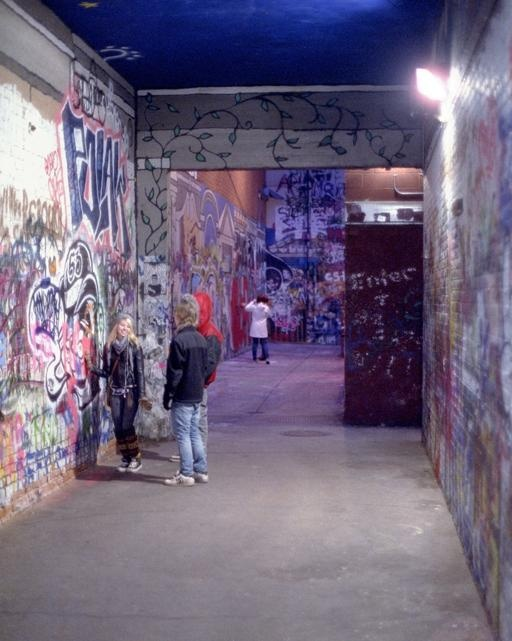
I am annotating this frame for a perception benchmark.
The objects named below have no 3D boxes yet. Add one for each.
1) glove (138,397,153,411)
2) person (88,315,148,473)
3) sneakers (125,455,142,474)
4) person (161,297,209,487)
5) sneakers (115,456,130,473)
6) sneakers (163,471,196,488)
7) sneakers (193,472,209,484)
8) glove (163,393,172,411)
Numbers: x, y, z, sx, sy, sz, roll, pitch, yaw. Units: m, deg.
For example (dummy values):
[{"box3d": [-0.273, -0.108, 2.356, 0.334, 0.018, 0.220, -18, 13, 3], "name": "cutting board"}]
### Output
[{"box3d": [-1.232, 0.934, 5.636, 0.128, 0.146, 0.419, 1, -5, -15], "name": "glove"}, {"box3d": [-1.488, 0.858, 5.809, 0.535, 1.792, 0.381, -1, -3, 19], "name": "person"}, {"box3d": [-1.432, 1.698, 5.903, 0.077, 0.140, 0.244, 0, -5, 3], "name": "sneakers"}, {"box3d": [-0.731, 0.788, 5.272, 0.428, 1.895, 0.601, 0, -3, -6], "name": "person"}, {"box3d": [-1.575, 1.731, 6.078, 0.088, 0.179, 0.332, 1, -7, 2], "name": "sneakers"}, {"box3d": [-0.830, 1.660, 5.438, 0.326, 0.241, 0.148, 5, -3, 2], "name": "sneakers"}, {"box3d": [-0.595, 1.699, 5.512, 0.066, 0.108, 0.181, 0, 3, -40], "name": "sneakers"}, {"box3d": [-0.926, 0.848, 5.313, 0.081, 0.196, 0.591, 0, -5, -10], "name": "glove"}]
